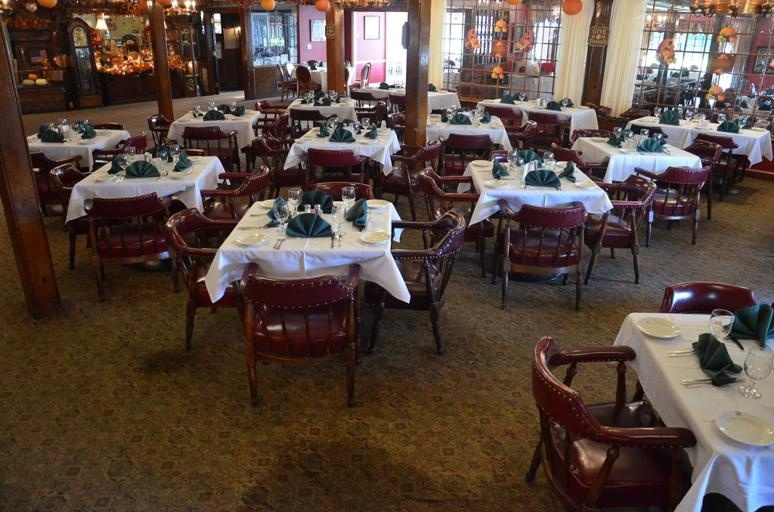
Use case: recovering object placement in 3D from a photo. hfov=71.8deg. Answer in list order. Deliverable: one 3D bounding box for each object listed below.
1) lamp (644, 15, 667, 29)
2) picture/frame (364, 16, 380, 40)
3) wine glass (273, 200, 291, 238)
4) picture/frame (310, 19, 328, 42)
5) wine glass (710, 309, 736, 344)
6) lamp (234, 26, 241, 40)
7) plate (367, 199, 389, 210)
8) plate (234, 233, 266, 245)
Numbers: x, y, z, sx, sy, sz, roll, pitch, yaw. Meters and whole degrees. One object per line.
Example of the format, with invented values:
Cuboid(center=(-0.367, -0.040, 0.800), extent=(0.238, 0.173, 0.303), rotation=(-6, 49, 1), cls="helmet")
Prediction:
Cuboid(center=(5.121, -4.438, 10.143), extent=(0.314, 0.214, 0.316), rotation=(-5, 39, -1), cls="lamp")
Cuboid(center=(-0.517, -7.908, 18.320), extent=(0.056, 0.593, 0.799), rotation=(17, 36, 29), cls="picture/frame")
Cuboid(center=(-0.841, -0.318, 4.304), extent=(0.110, 0.267, 0.283), rotation=(-5, 21, -12), cls="wine glass")
Cuboid(center=(-2.248, -7.613, 17.915), extent=(0.511, 0.693, 0.720), rotation=(2, 21, 6), cls="picture/frame")
Cuboid(center=(2.062, 0.434, 3.264), extent=(0.143, 0.161, 0.134), rotation=(-5, 25, 0), cls="wine glass")
Cuboid(center=(-4.833, -7.240, 17.182), extent=(0.125, 0.314, 0.076), rotation=(-6, 21, -14), cls="lamp")
Cuboid(center=(-0.077, -0.487, 4.855), extent=(0.194, 0.040, 0.267), rotation=(0, 21, 0), cls="plate")
Cuboid(center=(-1.064, -0.130, 4.184), extent=(0.222, 0.028, 0.179), rotation=(-4, 21, -10), cls="plate")
